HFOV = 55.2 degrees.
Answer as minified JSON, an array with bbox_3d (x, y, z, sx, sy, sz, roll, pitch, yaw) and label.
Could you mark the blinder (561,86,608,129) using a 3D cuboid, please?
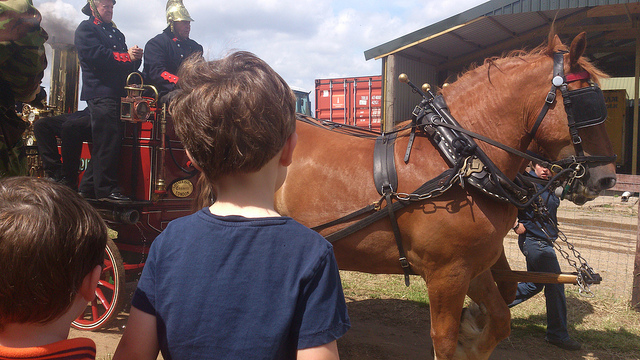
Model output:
[{"bbox_3d":[3.015,-0.811,6.901,0.466,0.431,0.123,-15,0,15],"label":"blinder"}]
